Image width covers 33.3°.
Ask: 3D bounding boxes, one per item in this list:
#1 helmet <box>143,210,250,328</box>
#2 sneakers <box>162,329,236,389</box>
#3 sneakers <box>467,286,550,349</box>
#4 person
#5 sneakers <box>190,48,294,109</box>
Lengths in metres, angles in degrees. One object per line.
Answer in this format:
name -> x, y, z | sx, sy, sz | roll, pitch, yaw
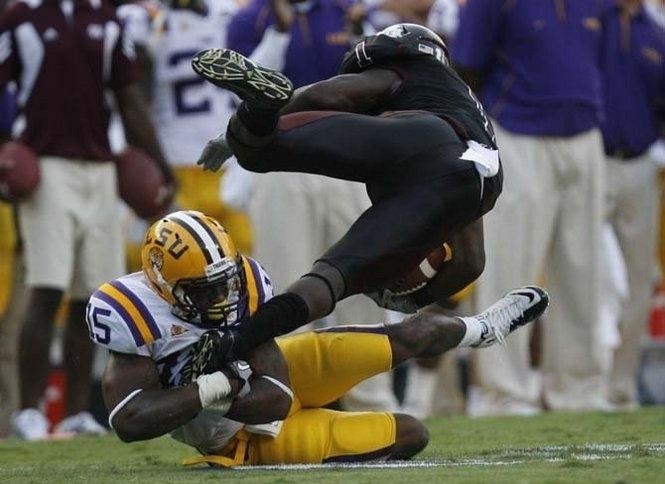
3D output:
helmet -> -0.591, 0.062, 4.714 | 0.490, 0.434, 0.397 | 16, 34, 25
sneakers -> -0.558, 0.484, 4.521 | 0.195, 0.307, 0.124 | 30, 34, -55
sneakers -> 0.876, 0.364, 5.515 | 0.435, 0.191, 0.156 | -31, 84, -3
person -> -0.016, 0.266, 4.275 | 1.653, 0.836, 1.287 | 1, 70, -5
sneakers -> -0.405, -0.711, 4.544 | 0.476, 0.206, 0.234 | 15, -2, -5
